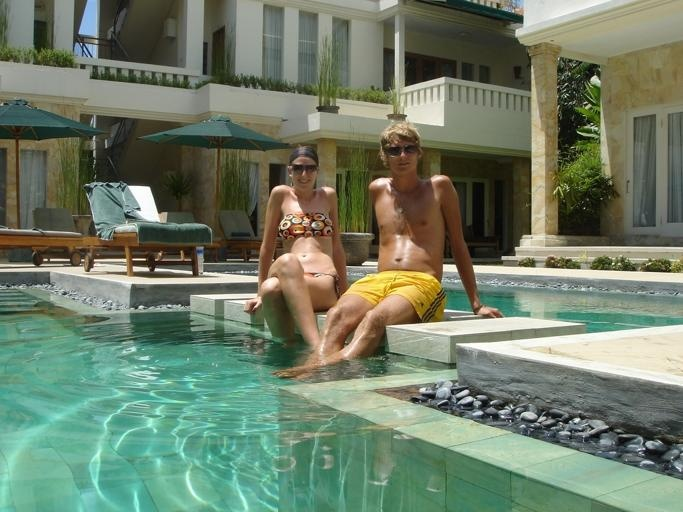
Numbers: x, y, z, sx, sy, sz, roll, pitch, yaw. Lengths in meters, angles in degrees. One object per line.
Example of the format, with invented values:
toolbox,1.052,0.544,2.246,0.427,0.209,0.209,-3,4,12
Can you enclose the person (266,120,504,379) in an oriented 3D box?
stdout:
person,0.229,-0.062,3.202,0.953,1.394,1.478,1,7,33

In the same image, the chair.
chair,-3.165,-0.445,7.600,1.989,1.270,2.820,0,2,-34
